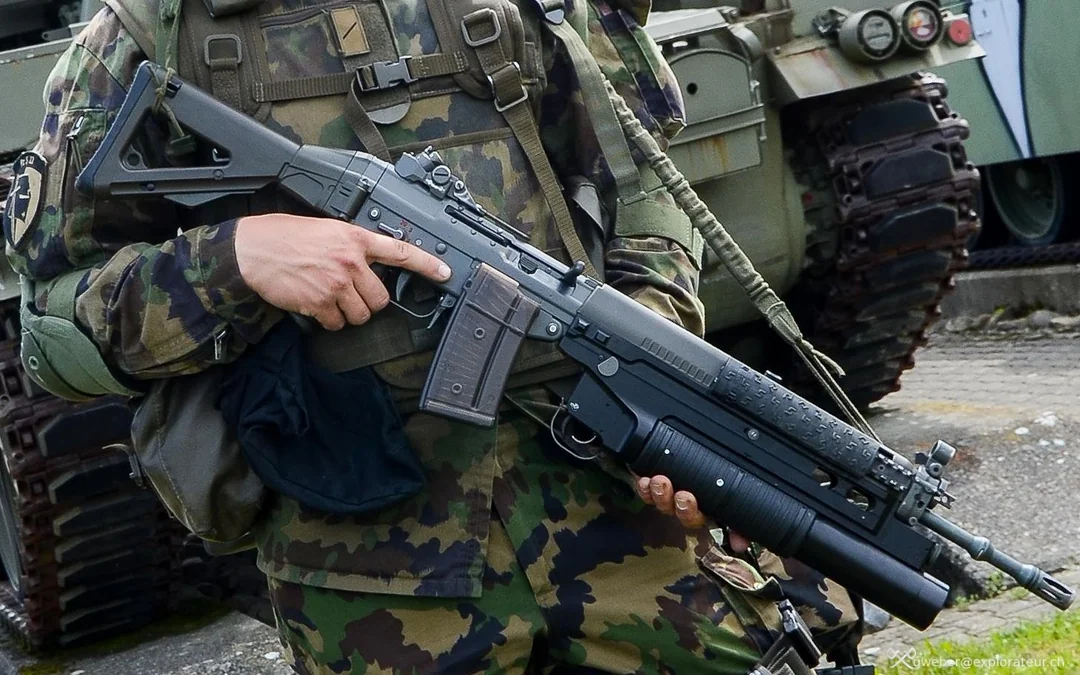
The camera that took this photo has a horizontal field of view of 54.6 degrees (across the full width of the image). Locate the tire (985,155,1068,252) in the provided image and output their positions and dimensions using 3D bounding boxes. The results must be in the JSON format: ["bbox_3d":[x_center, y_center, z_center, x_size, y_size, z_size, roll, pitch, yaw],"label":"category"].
[{"bbox_3d":[4.977,-1.375,10.625,0.303,0.911,0.746,-18,21,-37],"label":"tire"}]
